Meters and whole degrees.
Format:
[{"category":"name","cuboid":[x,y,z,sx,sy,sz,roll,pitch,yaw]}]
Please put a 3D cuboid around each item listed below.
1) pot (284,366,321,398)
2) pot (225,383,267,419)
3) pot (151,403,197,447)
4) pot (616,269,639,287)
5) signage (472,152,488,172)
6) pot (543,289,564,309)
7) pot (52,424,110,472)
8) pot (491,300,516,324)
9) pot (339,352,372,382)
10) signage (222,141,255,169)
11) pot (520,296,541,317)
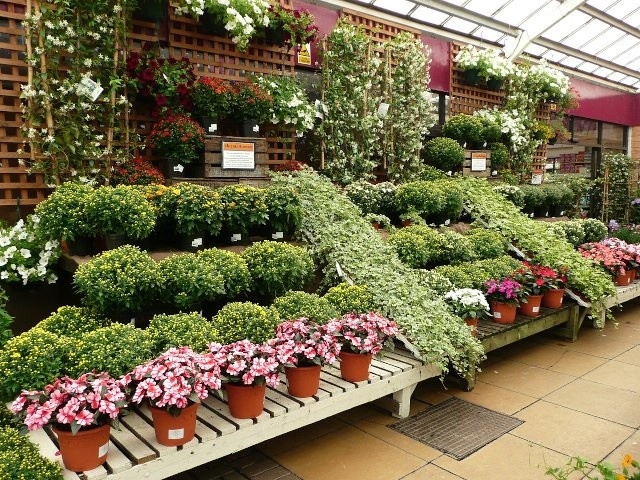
[{"category":"pot","cuboid":[-0.121,1.053,3.421,0.296,0.160,0.259,0,0,-4]},{"category":"pot","cuboid":[-0.521,1.112,3.133,0.362,0.201,0.310,-4,-24,-2]},{"category":"pot","cuboid":[-0.928,1.161,2.867,0.362,0.211,0.312,-2,-7,-19]},{"category":"pot","cuboid":[4.525,0.538,6.749,0.360,0.180,0.322,-5,5,-23]},{"category":"signage","cuboid":[3.024,-1.513,8.580,0.434,0.468,0.045,-10,9,-36]},{"category":"pot","cuboid":[2.914,0.732,5.705,0.294,0.166,0.259,0,2,0]},{"category":"pot","cuboid":[-1.329,1.174,2.597,0.303,0.177,0.284,1,5,0]},{"category":"pot","cuboid":[2.042,0.809,5.100,0.303,0.172,0.266,0,-1,-5]},{"category":"pot","cuboid":[0.306,1.027,3.689,0.303,0.182,0.277,0,-14,0]},{"category":"signage","cuboid":[-0.990,-1.022,5.342,0.446,0.250,0.042,-2,3,-36]},{"category":"pot","cuboid":[2.482,0.765,5.327,0.309,0.183,0.272,0,-1,1]}]
